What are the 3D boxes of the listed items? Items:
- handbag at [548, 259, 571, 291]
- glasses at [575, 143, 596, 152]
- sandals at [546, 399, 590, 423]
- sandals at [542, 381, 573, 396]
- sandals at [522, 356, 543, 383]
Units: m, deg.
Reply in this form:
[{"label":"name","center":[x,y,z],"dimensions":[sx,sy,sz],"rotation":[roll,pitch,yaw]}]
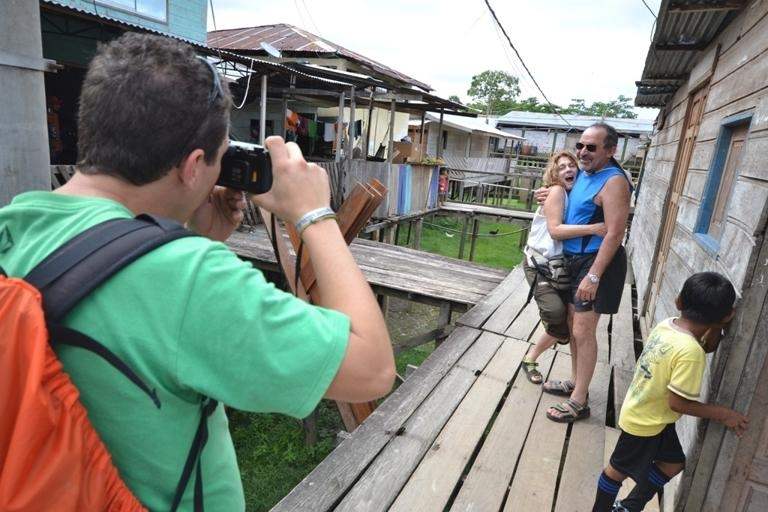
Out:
[{"label":"handbag","center":[1.427,0.156,3.711],"dimensions":[0.151,0.261,0.186],"rotation":[-11,16,-13]},{"label":"glasses","center":[1.542,-0.798,3.440],"dimensions":[0.114,0.034,0.103],"rotation":[5,7,-43]},{"label":"sandals","center":[1.435,1.218,3.624],"dimensions":[0.324,0.131,0.158],"rotation":[0,20,1]},{"label":"sandals","center":[1.496,1.128,3.950],"dimensions":[0.287,0.099,0.101],"rotation":[5,16,0]},{"label":"sandals","center":[1.338,1.047,4.100],"dimensions":[0.101,0.102,0.268],"rotation":[-2,7,8]}]
